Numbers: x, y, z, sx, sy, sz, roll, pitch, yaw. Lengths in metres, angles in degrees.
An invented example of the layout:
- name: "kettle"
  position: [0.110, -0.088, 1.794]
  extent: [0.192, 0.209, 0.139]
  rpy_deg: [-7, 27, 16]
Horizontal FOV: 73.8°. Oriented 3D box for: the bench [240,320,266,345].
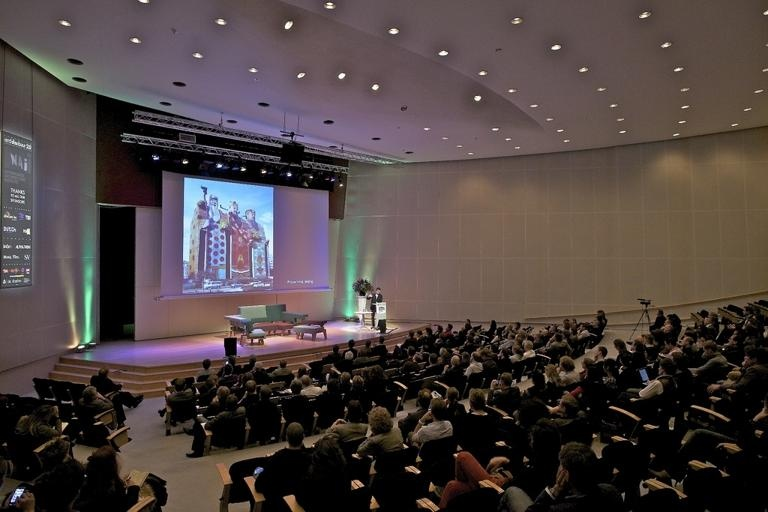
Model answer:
- name: "bench"
  position: [-4.827, 2.854, 18.861]
  extent: [0.798, 0.827, 0.865]
  rpy_deg: [1, 1, 13]
